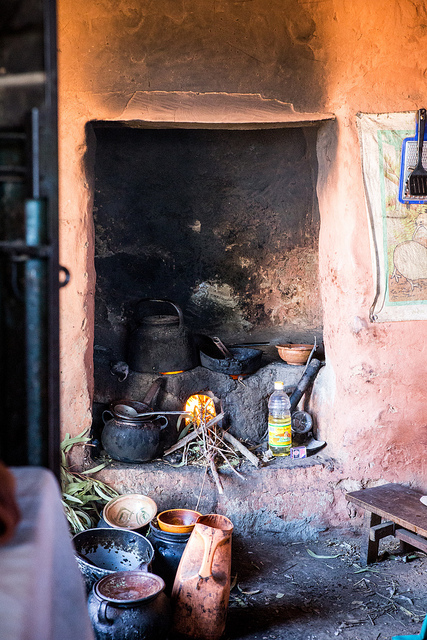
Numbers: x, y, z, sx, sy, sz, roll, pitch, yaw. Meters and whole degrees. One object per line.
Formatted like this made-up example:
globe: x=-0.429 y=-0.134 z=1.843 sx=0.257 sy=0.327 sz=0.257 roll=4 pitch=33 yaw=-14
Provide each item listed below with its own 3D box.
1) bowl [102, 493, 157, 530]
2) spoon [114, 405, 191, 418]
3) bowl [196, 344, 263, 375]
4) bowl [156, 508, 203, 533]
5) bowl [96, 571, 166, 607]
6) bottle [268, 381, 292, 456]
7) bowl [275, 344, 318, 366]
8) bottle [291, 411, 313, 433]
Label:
bowl: x=-0.349 y=0.805 z=2.411 sx=0.222 sy=0.107 sz=0.172 roll=0 pitch=-1 yaw=-11
spoon: x=-0.323 y=0.459 z=2.912 sx=0.307 sy=0.046 sz=0.083 roll=2 pitch=5 yaw=4
bowl: x=0.086 y=0.222 z=3.340 sx=0.369 sy=0.157 sz=0.444 roll=0 pitch=-1 yaw=-2
bowl: x=-0.141 y=0.793 z=2.275 sx=0.161 sy=0.048 sz=0.234 roll=0 pitch=-1 yaw=-1
bowl: x=-0.268 y=0.866 z=1.853 sx=0.211 sy=0.038 sz=0.208 roll=0 pitch=-1 yaw=0
bottle: x=0.344 y=0.502 z=2.996 sx=0.122 sy=0.369 sz=0.224 roll=0 pitch=-1 yaw=7
bowl: x=0.483 y=0.204 z=3.409 sx=0.218 sy=0.116 sz=0.338 roll=0 pitch=-1 yaw=5
bottle: x=0.468 y=0.540 z=3.061 sx=0.094 sy=0.101 sz=0.122 roll=1 pitch=-1 yaw=-43
